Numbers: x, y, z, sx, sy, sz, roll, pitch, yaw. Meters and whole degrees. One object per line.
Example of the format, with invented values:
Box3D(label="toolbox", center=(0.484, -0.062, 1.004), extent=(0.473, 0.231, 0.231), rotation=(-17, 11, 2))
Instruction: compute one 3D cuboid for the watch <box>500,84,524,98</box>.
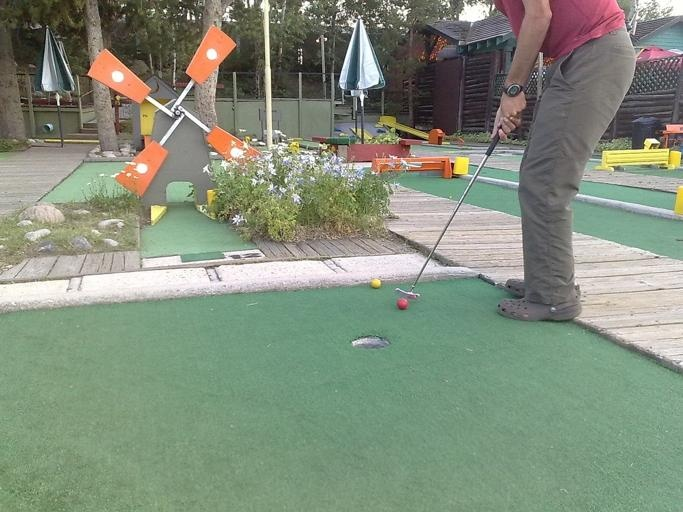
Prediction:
Box3D(label="watch", center=(1.004, -0.976, 2.722), extent=(0.092, 0.052, 0.089), rotation=(-2, 26, 8))

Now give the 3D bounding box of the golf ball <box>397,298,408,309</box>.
Box3D(label="golf ball", center=(0.391, 0.306, 2.985), extent=(0.067, 0.073, 0.063), rotation=(9, 11, -2))

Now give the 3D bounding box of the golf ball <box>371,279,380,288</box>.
Box3D(label="golf ball", center=(0.257, 0.193, 3.393), extent=(0.076, 0.059, 0.072), rotation=(3, 17, -1))
